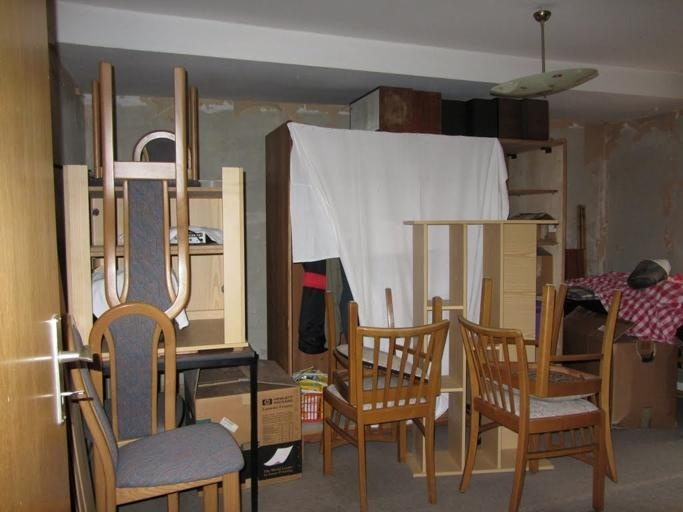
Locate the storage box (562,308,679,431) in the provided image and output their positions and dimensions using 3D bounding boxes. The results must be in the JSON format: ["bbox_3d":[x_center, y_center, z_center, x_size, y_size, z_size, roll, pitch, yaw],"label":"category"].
[{"bbox_3d":[2.105,0.660,4.920,0.615,0.831,1.172,-1,2,-2],"label":"storage box"}]

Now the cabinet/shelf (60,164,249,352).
[{"bbox_3d":[-1.054,0.046,3.928,1.206,1.395,1.006,0,4,-4],"label":"cabinet/shelf"}]

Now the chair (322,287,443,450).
[{"bbox_3d":[0.241,0.741,3.908,0.747,1.028,0.877,-3,4,-3],"label":"chair"}]

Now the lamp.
[{"bbox_3d":[1.249,-1.315,4.212,0.696,0.565,0.732,-4,1,7],"label":"lamp"}]

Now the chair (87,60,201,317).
[{"bbox_3d":[-1.061,-0.339,3.451,0.499,1.364,0.380,-5,4,-23],"label":"chair"}]
